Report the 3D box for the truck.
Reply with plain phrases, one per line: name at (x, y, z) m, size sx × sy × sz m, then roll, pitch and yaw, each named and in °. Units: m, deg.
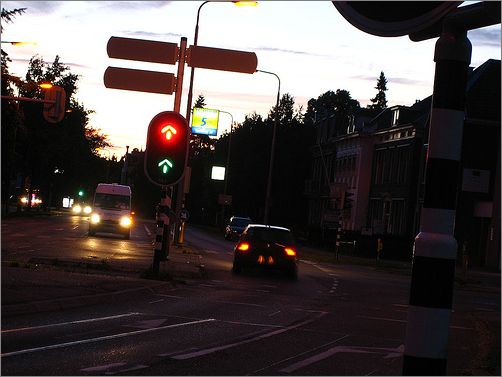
truck at (-9.715, 1.176, 34.072) m, size 2.729 × 3.696 × 5.865 m, roll 6°, pitch 5°, yaw -17°
